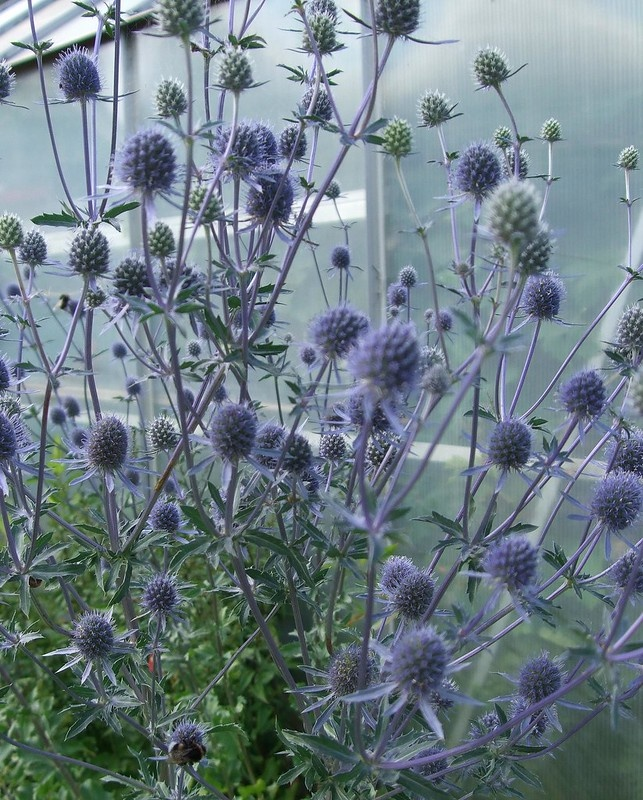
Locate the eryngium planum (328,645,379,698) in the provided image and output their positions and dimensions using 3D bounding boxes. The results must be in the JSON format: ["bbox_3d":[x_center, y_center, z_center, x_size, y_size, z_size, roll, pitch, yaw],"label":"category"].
[{"bbox_3d":[0.129,1.065,4.129,0.190,0.158,0.304,4,22,10],"label":"eryngium planum"}]

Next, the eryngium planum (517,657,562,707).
[{"bbox_3d":[0.875,1.119,4.174,0.190,0.179,0.168,-18,-6,7],"label":"eryngium planum"}]

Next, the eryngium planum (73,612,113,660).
[{"bbox_3d":[-0.970,0.964,4.319,0.184,0.177,0.183,2,12,12],"label":"eryngium planum"}]
